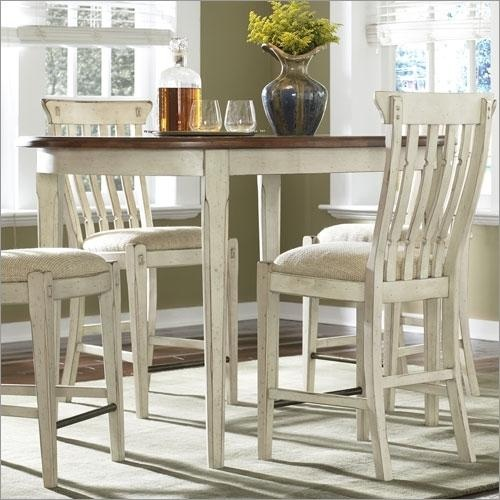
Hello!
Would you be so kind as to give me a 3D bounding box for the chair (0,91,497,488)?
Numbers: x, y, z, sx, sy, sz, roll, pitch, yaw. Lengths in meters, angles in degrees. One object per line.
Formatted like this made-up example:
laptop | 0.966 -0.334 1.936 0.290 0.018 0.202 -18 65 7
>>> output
chair | -0.025 0.043 2.145 0.783 1.045 1.284 -4 6 -43
